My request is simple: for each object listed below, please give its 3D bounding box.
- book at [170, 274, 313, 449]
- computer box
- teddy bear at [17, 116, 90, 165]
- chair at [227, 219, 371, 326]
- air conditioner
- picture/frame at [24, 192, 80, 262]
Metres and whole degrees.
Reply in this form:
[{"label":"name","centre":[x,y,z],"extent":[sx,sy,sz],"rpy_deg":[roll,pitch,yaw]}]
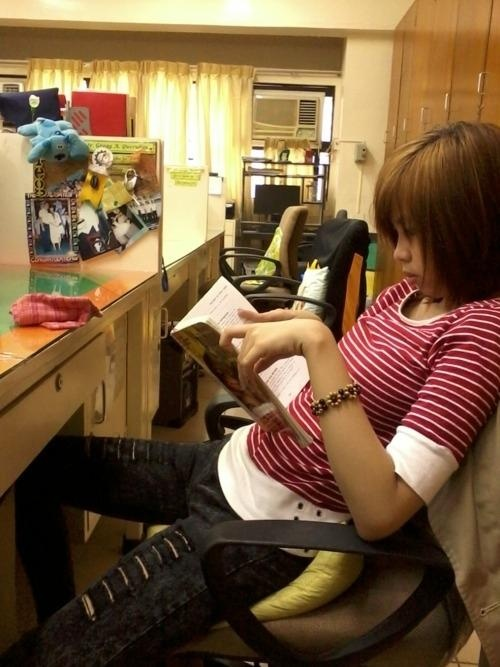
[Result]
[{"label":"book","centre":[0.009,0.067,0.753],"extent":[0.073,0.276,0.185],"rpy_deg":[-28,17,44]},{"label":"computer box","centre":[-0.397,0.197,2.510],"extent":[0.238,0.413,0.336],"rpy_deg":[4,4,7]},{"label":"teddy bear","centre":[-0.488,-0.500,1.249],"extent":[0.123,0.063,0.140],"rpy_deg":[-13,43,-25]},{"label":"chair","centre":[0.194,-0.189,2.374],"extent":[0.544,0.713,0.513],"rpy_deg":[2,32,-3]},{"label":"air conditioner","centre":[0.402,-2.304,5.742],"extent":[1.014,0.701,0.560],"rpy_deg":[2,18,5]},{"label":"picture/frame","centre":[-0.505,-0.279,1.300],"extent":[0.160,0.225,0.018],"rpy_deg":[2,15,-4]}]
